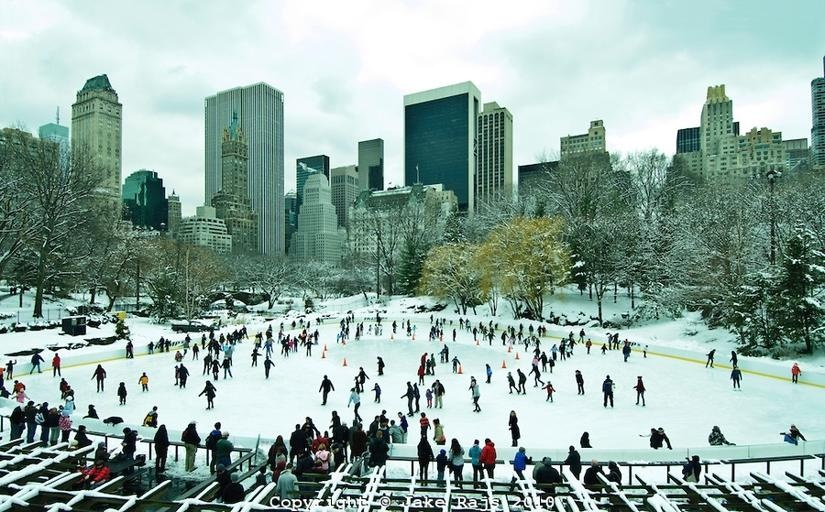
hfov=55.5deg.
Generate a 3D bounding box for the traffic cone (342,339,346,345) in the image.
[{"bbox_3d":[-6.965,8.740,79.701,0.504,0.503,0.474,6,-2,-7],"label":"traffic cone"}]

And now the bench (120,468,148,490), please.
[{"bbox_3d":[-19.227,15.585,54.115,1.139,1.202,1.948,0,-2,-7],"label":"bench"}]

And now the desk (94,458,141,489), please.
[{"bbox_3d":[-20.414,15.232,53.687,2.276,1.060,2.251,4,3,19],"label":"desk"}]

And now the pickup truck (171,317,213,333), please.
[{"bbox_3d":[-23.190,7.571,83.057,4.653,1.439,2.138,1,0,-20],"label":"pickup truck"}]

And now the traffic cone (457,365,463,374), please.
[{"bbox_3d":[4.181,10.105,69.353,0.545,0.708,0.540,-2,-11,5],"label":"traffic cone"}]

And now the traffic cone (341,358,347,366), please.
[{"bbox_3d":[-6.180,9.762,71.206,0.472,0.518,0.509,11,29,43],"label":"traffic cone"}]
